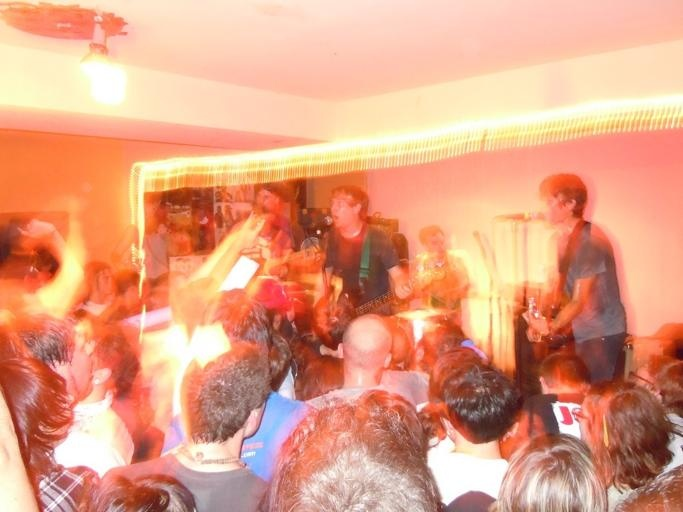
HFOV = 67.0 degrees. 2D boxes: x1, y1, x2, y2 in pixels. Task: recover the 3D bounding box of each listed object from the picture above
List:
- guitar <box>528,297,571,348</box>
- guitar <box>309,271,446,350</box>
[{"bbox_3d":[1.637,0.560,4.251,0.316,0.331,0.107,3,-23,9],"label":"guitar"},{"bbox_3d":[0.133,0.388,3.516,1.078,0.496,0.127,-27,-20,33],"label":"guitar"}]
